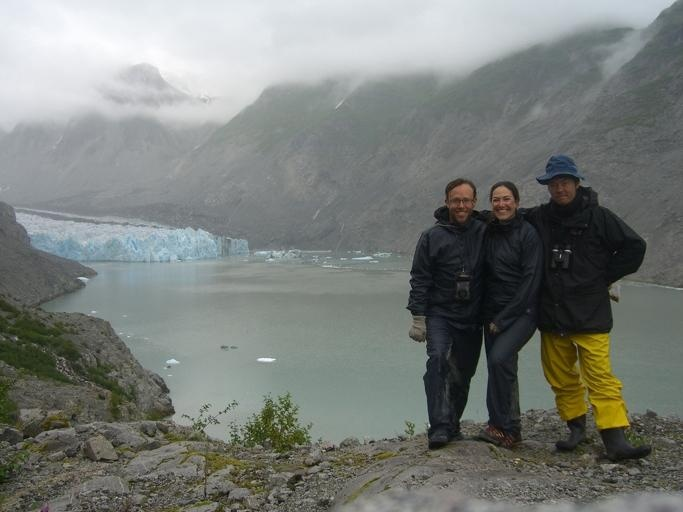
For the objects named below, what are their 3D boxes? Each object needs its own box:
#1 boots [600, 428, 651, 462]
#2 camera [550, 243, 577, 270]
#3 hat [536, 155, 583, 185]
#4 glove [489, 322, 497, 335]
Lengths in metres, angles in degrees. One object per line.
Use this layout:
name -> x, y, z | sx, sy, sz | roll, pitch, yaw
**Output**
boots -> 3.347, 2.177, 7.436 | 0.215, 0.384, 0.534 | 10, -26, -36
camera -> 2.675, -0.018, 7.827 | 0.356, 0.462, 0.266 | 2, 2, 30
hat -> 2.647, -1.148, 7.914 | 0.518, 0.276, 0.494 | 0, 0, -10
glove -> 1.874, 0.880, 7.844 | 0.096, 0.102, 0.124 | -1, 1, 20
